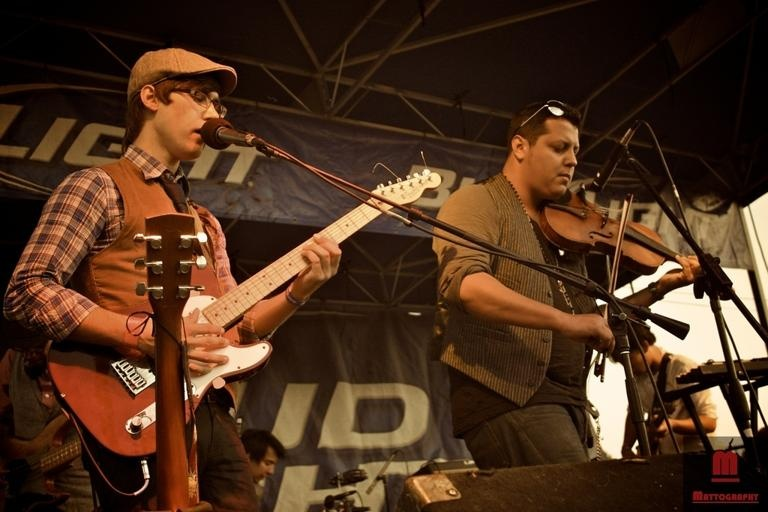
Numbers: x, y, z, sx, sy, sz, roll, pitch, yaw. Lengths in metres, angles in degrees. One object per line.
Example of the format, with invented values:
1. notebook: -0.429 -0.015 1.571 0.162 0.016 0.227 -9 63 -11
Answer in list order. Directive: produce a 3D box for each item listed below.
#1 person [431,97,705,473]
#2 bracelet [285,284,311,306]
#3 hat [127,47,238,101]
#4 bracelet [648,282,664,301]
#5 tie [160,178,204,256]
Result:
1. person: 1.040 0.132 5.212 1.328 2.853 0.820 4 -23 -9
2. bracelet: -0.638 0.294 5.067 0.131 0.086 0.159 24 -1 5
3. hat: -1.494 -1.381 5.047 0.640 0.331 0.437 -21 -4 -5
4. bracelet: 2.419 0.314 6.035 0.041 0.150 0.141 -15 -3 2
5. tie: -1.353 -0.252 4.498 0.145 0.807 0.116 -10 -28 -19
